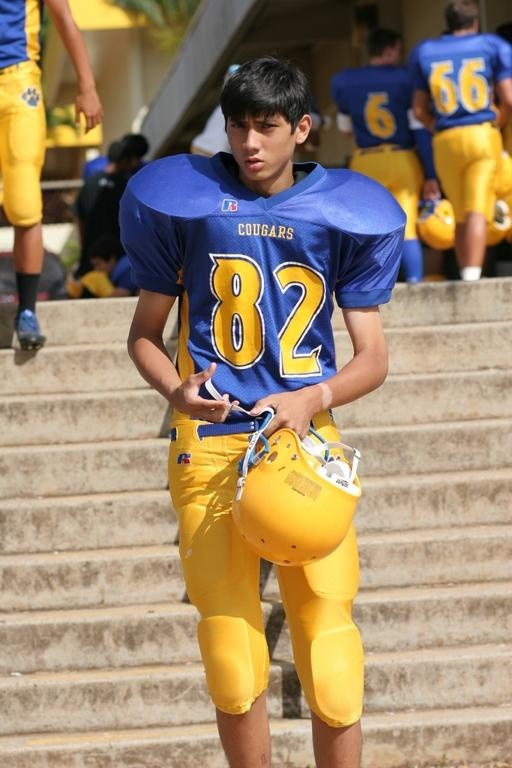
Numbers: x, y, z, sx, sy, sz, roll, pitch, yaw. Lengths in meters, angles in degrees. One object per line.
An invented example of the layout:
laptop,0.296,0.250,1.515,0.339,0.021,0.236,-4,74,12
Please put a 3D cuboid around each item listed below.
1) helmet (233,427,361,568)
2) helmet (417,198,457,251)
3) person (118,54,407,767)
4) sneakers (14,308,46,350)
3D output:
helmet,0.093,0.260,2.589,0.292,0.330,0.283,7,-21,1
helmet,1.072,-0.983,6.387,0.220,0.301,0.234,3,15,7
person,0.062,0.081,2.749,0.633,1.812,0.626,-7,17,-28
sneakers,-0.967,-0.242,4.649,0.086,0.115,0.221,-17,1,-9
